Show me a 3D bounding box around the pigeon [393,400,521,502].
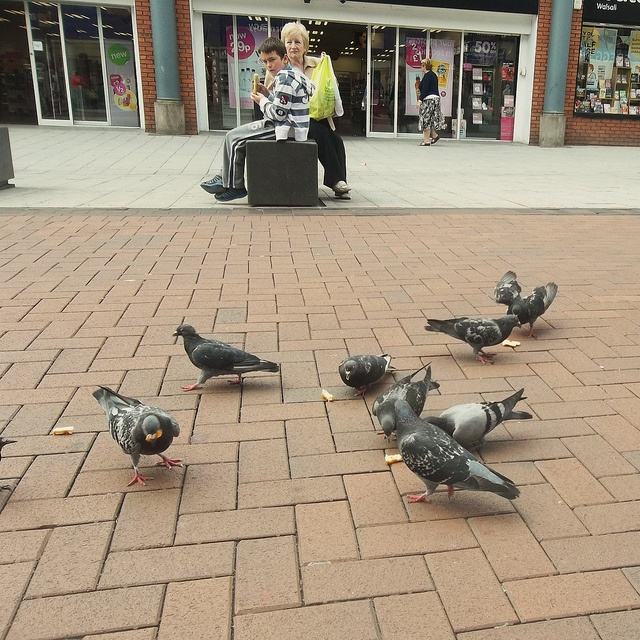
[{"bbox_3d":[0.526,0.549,2.410,0.600,0.328,0.238,9,16,27],"label":"pigeon"}]

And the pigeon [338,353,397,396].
[{"bbox_3d":[0.261,0.250,3.329,0.153,0.169,0.364,12,39,32],"label":"pigeon"}]

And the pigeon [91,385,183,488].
[{"bbox_3d":[-0.792,0.426,2.625,0.239,0.302,0.587,-17,40,-34],"label":"pigeon"}]

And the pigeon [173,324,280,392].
[{"bbox_3d":[-0.546,0.231,3.297,0.766,0.384,0.271,1,2,9],"label":"pigeon"}]

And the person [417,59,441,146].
[{"bbox_3d":[3.115,-6.114,16.869,0.711,2.275,0.935,3,22,9],"label":"person"}]

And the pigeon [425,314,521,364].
[{"bbox_3d":[0.966,0.082,3.806,0.596,0.277,0.191,8,21,22],"label":"pigeon"}]

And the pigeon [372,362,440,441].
[{"bbox_3d":[0.361,0.362,2.825,0.194,0.206,0.489,3,43,35],"label":"pigeon"}]

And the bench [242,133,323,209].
[{"bbox_3d":[-0.845,-2.058,8.458,1.583,0.850,1.408,1,14,2],"label":"bench"}]
